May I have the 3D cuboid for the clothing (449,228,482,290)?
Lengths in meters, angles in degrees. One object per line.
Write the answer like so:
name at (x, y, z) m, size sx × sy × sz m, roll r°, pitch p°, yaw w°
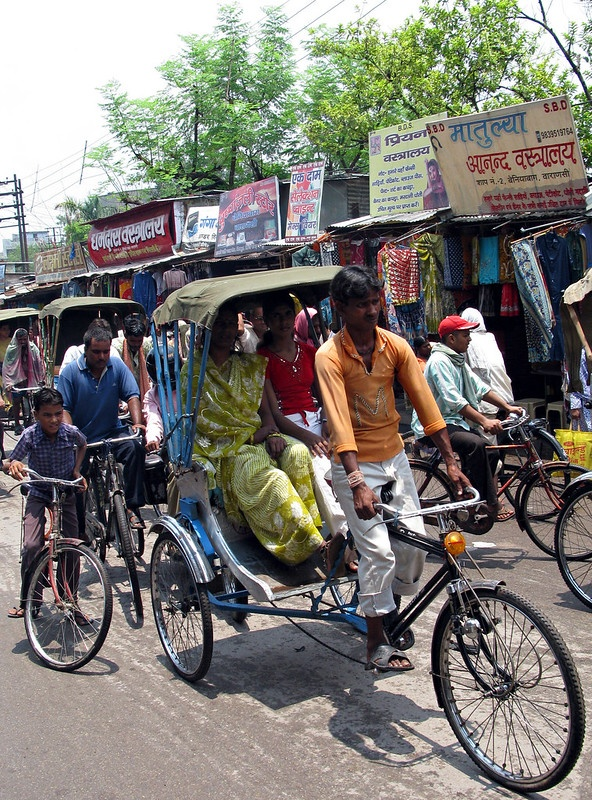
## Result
clothing at (2.110, -1.790, 8.724) m, size 0.552 × 0.676 × 0.183 m, roll 1°, pitch 4°, yaw 10°

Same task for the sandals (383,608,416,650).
sandals at (0.400, 0.883, 2.716) m, size 0.118 × 0.158 × 0.042 m, roll 34°, pitch -30°, yaw -19°

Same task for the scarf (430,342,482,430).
scarf at (1.055, -0.079, 4.659) m, size 0.379 × 0.586 × 0.481 m, roll -7°, pitch 20°, yaw 21°

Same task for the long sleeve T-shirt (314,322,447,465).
long sleeve T-shirt at (0.320, -0.019, 2.763) m, size 0.509 × 0.438 × 0.203 m, roll -4°, pitch 1°, yaw -30°

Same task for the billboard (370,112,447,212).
billboard at (1.605, -3.337, 10.048) m, size 1.289 × 1.196 × 0.104 m, roll 5°, pitch 17°, yaw 39°

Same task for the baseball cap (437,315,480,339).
baseball cap at (1.107, -0.515, 4.838) m, size 0.283 × 0.143 × 0.166 m, roll -13°, pitch 12°, yaw 13°

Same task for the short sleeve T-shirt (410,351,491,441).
short sleeve T-shirt at (1.151, -0.062, 4.899) m, size 0.479 × 0.576 × 0.491 m, roll 0°, pitch 11°, yaw 33°

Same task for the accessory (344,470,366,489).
accessory at (0.209, 0.286, 2.548) m, size 0.062 × 0.050 × 0.066 m, roll -7°, pitch -30°, yaw -41°

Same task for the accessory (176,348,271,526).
accessory at (-0.342, 0.124, 3.679) m, size 0.409 × 0.826 × 0.145 m, roll -10°, pitch 23°, yaw -16°

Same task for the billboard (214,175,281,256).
billboard at (-1.061, -3.580, 13.846) m, size 0.167 × 1.324 × 1.930 m, roll 19°, pitch 32°, yaw 36°

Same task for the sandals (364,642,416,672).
sandals at (0.341, 0.926, 2.542) m, size 0.093 × 0.050 × 0.145 m, roll 2°, pitch -11°, yaw -19°

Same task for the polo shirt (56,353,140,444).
polo shirt at (-1.347, -0.015, 4.735) m, size 0.568 × 0.552 × 0.210 m, roll -7°, pitch 18°, yaw -24°

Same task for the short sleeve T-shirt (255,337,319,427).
short sleeve T-shirt at (-0.044, -0.120, 4.041) m, size 0.379 × 0.427 × 0.249 m, roll -10°, pitch 7°, yaw -33°

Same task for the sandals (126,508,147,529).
sandals at (-1.051, 0.771, 4.570) m, size 0.074 × 0.049 × 0.191 m, roll -4°, pitch 14°, yaw -17°

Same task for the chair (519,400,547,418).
chair at (2.551, 0.085, 7.546) m, size 0.164 × 0.148 × 0.162 m, roll 7°, pitch 21°, yaw 30°

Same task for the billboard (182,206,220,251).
billboard at (-2.194, -3.930, 16.195) m, size 0.176 × 1.079 × 1.601 m, roll 3°, pitch 2°, yaw -35°

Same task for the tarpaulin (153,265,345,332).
tarpaulin at (-0.351, -0.520, 3.481) m, size 0.534 × 0.142 × 0.615 m, roll -15°, pitch 7°, yaw -27°

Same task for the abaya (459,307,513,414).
abaya at (1.542, -0.269, 5.714) m, size 0.397 × 0.891 × 0.349 m, roll -1°, pitch 16°, yaw 43°

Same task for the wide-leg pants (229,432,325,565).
wide-leg pants at (-0.112, 0.511, 3.460) m, size 0.410 × 0.577 × 0.230 m, roll -23°, pitch -23°, yaw -42°

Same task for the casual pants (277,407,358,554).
casual pants at (0.088, 0.359, 3.599) m, size 0.205 × 0.201 × 0.714 m, roll -13°, pitch 48°, yaw -2°
